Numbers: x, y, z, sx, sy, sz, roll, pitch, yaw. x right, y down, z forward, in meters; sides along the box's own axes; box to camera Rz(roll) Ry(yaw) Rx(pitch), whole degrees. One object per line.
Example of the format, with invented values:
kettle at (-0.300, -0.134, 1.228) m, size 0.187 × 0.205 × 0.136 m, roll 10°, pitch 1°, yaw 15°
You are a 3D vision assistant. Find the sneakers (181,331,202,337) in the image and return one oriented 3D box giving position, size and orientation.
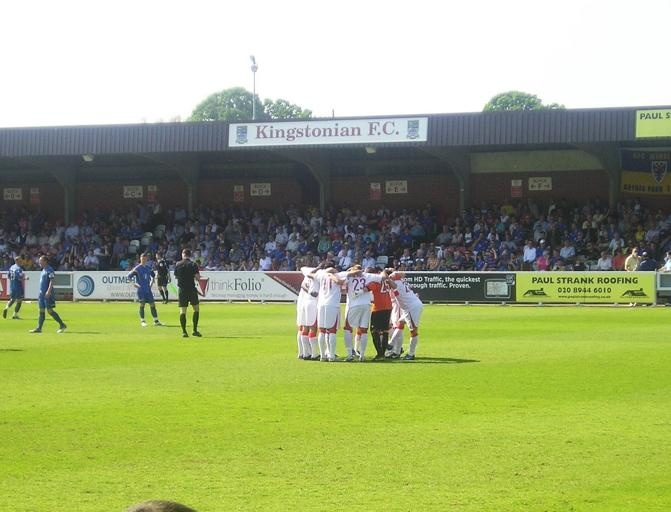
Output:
sneakers at (-3.321, 1.792, 25.662) m, size 0.489 × 0.215 × 0.167 m, roll -3°, pitch -1°, yaw 8°
